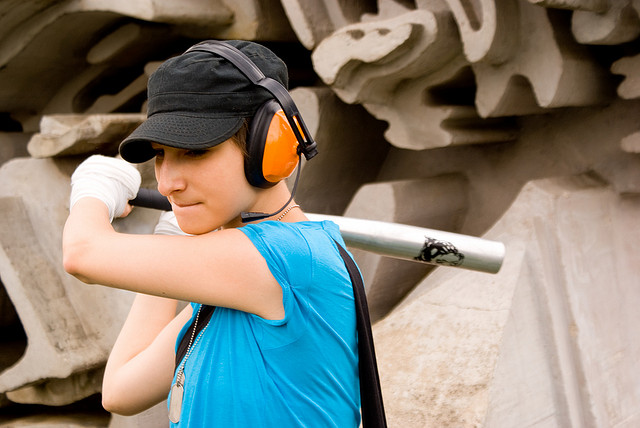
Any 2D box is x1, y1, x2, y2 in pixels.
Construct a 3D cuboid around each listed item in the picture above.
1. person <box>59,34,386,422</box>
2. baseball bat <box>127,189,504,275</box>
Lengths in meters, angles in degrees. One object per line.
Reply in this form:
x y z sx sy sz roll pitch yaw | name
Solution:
-0.366 0.124 3.750 1.318 1.456 0.870 8 33 14 | person
0.016 0.080 4.089 1.416 0.151 0.139 12 62 11 | baseball bat
